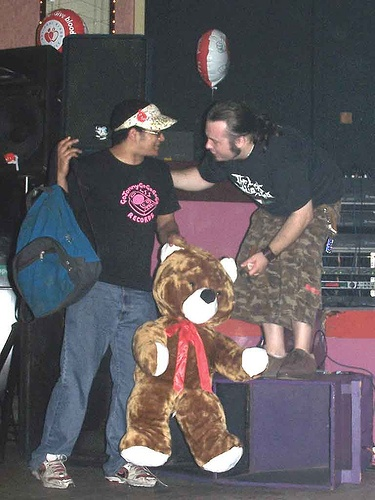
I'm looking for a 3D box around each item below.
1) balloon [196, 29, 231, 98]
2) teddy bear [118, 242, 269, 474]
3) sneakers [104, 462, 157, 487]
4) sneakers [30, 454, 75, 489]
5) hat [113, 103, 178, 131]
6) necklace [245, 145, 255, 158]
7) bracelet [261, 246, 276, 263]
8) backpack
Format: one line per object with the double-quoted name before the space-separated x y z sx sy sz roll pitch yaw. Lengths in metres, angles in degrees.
"balloon" 0.178 -1.268 4.505 0.219 0.348 0.205 3 8 -32
"teddy bear" 0.042 0.365 2.345 0.470 0.714 0.460 7 7 -3
"sneakers" -0.192 0.821 2.505 0.209 0.083 0.076 -2 -14 15
"sneakers" -0.474 0.778 2.388 0.085 0.075 0.185 13 -15 -40
"hat" -0.165 -0.492 2.617 0.203 0.059 0.113 -10 8 10
"necklace" 0.262 -0.411 2.858 0.011 0.040 0.040 33 6 5
"bracelet" 0.327 0.018 2.741 0.056 0.046 0.058 50 3 6
"backpack" -0.419 0.004 2.467 0.363 0.393 0.139 -11 -6 31
